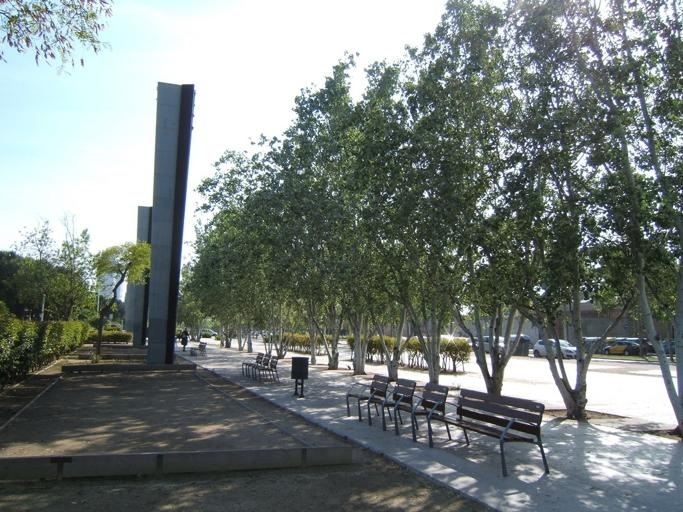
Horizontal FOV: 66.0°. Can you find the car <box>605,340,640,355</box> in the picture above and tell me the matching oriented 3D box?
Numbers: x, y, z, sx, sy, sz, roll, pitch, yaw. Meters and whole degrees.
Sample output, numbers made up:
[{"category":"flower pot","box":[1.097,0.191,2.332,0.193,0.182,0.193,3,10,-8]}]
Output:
[{"category":"car","box":[26.724,8.806,50.255,1.642,1.346,3.502,4,-10,-11]}]
